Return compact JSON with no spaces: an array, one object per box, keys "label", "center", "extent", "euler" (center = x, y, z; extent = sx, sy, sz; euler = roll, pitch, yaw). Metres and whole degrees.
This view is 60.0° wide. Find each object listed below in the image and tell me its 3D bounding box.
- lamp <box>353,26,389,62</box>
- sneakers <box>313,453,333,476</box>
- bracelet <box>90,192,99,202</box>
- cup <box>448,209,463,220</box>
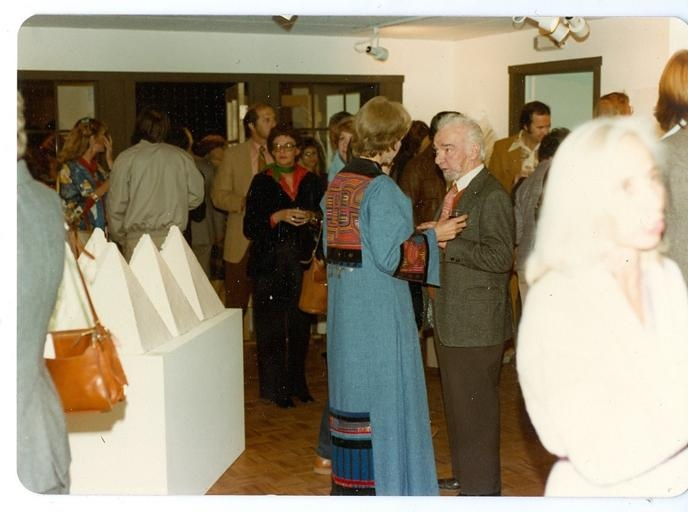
[{"label":"lamp","center":[0.217,-1.499,4.278],"extent":[0.203,0.214,0.128],"euler":[-10,39,-17]},{"label":"sneakers","center":[-0.119,1.198,3.467],"extent":[0.099,0.124,0.107],"euler":[0,2,31]},{"label":"bracelet","center":[-1.594,-0.383,3.813],"extent":[0.059,0.061,0.018],"euler":[-1,3,-10]},{"label":"cup","center":[0.537,-0.199,2.844],"extent":[0.048,0.052,0.052],"euler":[0,2,0]}]
